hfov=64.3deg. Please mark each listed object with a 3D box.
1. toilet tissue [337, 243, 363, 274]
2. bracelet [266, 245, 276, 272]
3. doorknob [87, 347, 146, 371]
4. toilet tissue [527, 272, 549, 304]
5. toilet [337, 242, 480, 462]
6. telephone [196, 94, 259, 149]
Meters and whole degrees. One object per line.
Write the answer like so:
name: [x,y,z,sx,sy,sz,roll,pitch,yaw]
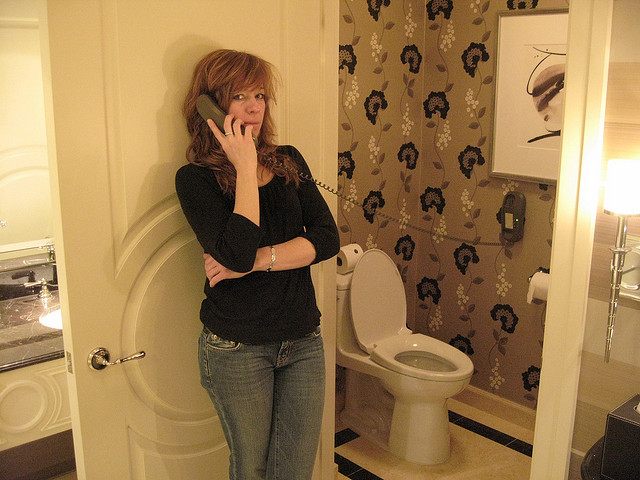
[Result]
toilet tissue: [0.169,0.108,2.868,0.148,0.149,0.102,-11,12,-38]
bracelet: [-0.164,0.062,1.693,0.034,0.076,0.017,-5,9,-8]
doorknob: [-0.705,0.402,1.741,0.124,0.073,0.077,-9,-8,24]
toilet tissue: [1.164,0.254,2.727,0.100,0.149,0.199,0,11,23]
toilet: [0.448,0.630,2.922,0.904,1.084,0.497,9,15,44]
telephone: [-0.305,-0.404,1.693,0.213,0.059,0.053,44,2,-4]
